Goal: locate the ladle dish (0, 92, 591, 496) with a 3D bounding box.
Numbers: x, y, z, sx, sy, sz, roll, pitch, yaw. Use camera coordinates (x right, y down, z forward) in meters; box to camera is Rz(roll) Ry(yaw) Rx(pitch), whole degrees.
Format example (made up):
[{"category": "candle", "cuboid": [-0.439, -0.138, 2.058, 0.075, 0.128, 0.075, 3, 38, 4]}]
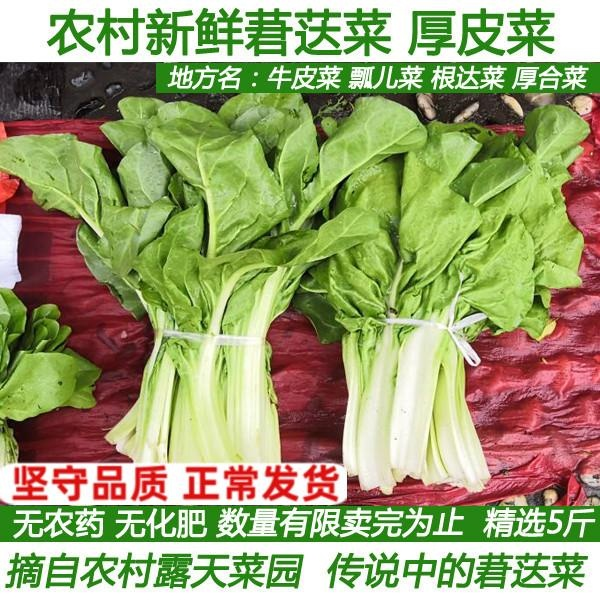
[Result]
[{"category": "ladle dish", "cuboid": [0.080, -0.013, 1.286, 1.066, 0.851, 0.249, 2, 7, -6]}]
